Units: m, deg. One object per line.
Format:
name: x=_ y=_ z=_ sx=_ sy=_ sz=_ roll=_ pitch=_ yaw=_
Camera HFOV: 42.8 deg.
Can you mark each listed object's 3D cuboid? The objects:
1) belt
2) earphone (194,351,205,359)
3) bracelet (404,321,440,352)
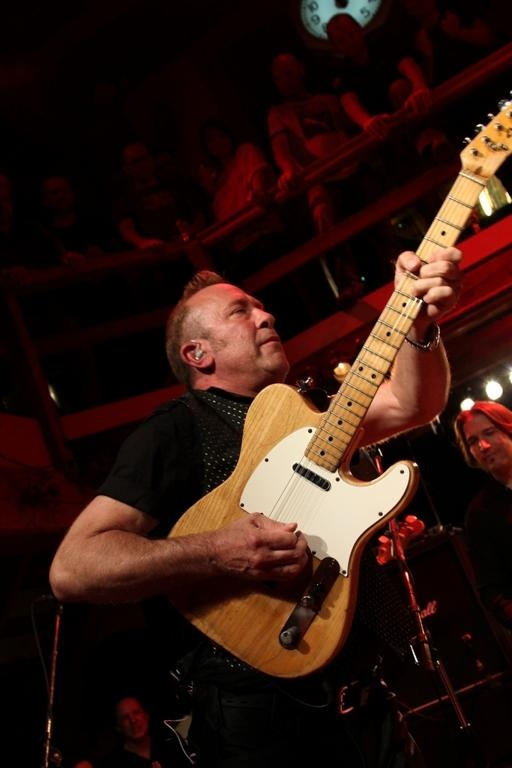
belt: x=0.086 y=0.822 z=1.813 sx=0.341 sy=0.127 sz=0.035 roll=-24 pitch=-25 yaw=-23
earphone: x=-0.207 y=-0.107 z=2.372 sx=0.009 sy=0.026 sz=0.033 roll=-8 pitch=-46 yaw=-57
bracelet: x=0.515 y=-0.143 z=2.022 sx=0.099 sy=0.077 sz=0.035 roll=-44 pitch=17 yaw=19
